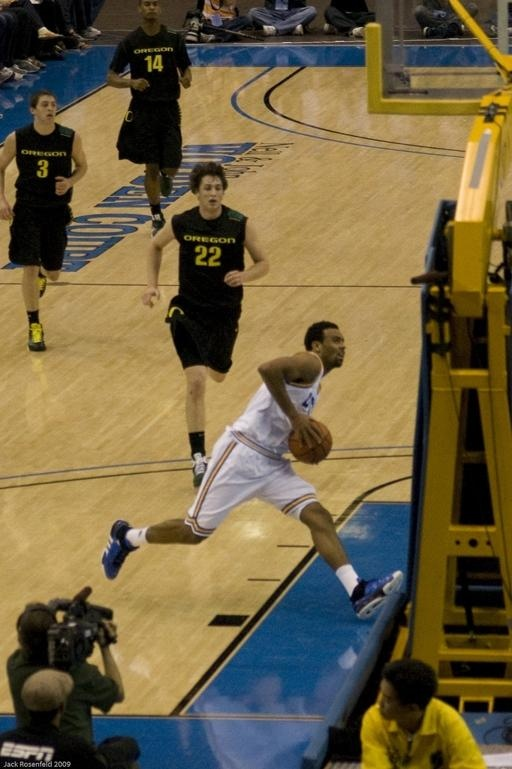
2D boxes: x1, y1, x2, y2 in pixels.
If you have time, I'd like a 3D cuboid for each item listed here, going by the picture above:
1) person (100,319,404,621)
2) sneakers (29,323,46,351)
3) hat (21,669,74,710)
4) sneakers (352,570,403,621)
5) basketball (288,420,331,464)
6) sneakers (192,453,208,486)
[{"bbox_3d":[0.058,0.320,3.258,1.399,1.084,0.572,5,15,37],"label":"person"},{"bbox_3d":[-1.734,-0.386,6.535,0.100,0.111,0.261,-4,41,-7],"label":"sneakers"},{"bbox_3d":[-0.422,0.626,1.648,0.079,0.071,0.095,-4,20,13],"label":"hat"},{"bbox_3d":[0.403,0.699,2.820,0.076,0.218,0.101,31,15,-51],"label":"sneakers"},{"bbox_3d":[0.211,0.238,3.099,0.186,0.160,0.166,13,6,6],"label":"basketball"},{"bbox_3d":[-0.297,0.454,4.433,0.082,0.093,0.226,-1,32,-4],"label":"sneakers"}]
